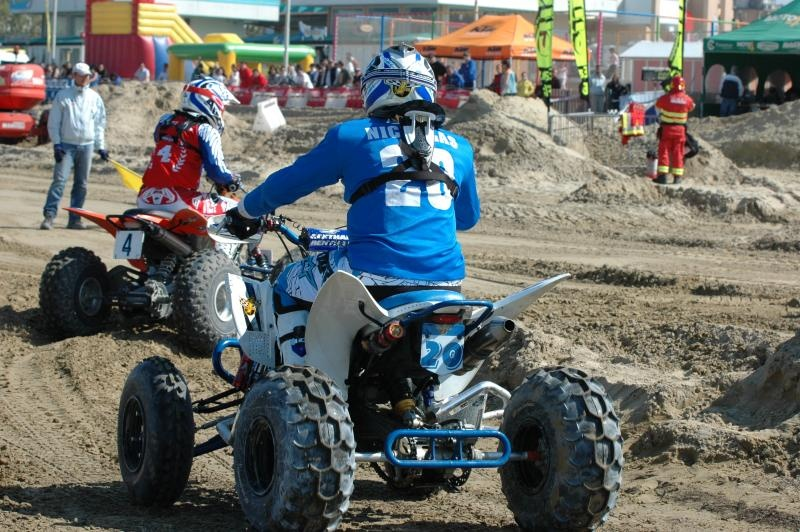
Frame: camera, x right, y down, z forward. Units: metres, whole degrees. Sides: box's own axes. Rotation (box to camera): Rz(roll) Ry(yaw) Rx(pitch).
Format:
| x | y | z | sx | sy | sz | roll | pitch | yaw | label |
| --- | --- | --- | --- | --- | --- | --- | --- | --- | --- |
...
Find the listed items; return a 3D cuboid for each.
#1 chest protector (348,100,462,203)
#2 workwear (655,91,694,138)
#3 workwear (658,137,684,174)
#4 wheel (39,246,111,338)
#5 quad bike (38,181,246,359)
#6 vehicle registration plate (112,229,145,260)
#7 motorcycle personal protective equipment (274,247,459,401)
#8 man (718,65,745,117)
| x | y | z | sx | sy | sz | roll | pitch | yaw | label |
| --- | --- | --- | --- | --- | --- | --- | --- | --- | --- |
| 0.033 | -1.663 | 18.256 | 1.012 | 1.447 | 1.503 | -2 | 23 | -16 | chest protector |
| 6.190 | -3.544 | 30.788 | 1.177 | 1.307 | 0.696 | 4 | 6 | 15 | workwear |
| 6.158 | -2.647 | 30.960 | 0.607 | 1.176 | 0.391 | 6 | 7 | 7 | workwear |
| -4.985 | 0.458 | 20.822 | 0.354 | 1.112 | 1.074 | -6 | -17 | 31 | wheel |
| -3.784 | -0.127 | 22.249 | 2.837 | 2.738 | 4.292 | 2 | -1 | 16 | quad bike |
| -4.127 | -0.341 | 20.675 | 0.407 | 0.434 | 0.061 | -1 | -21 | 8 | vehicle registration plate |
| -0.714 | 0.819 | 18.002 | 1.830 | 0.964 | 1.852 | -1 | 8 | 3 | motorcycle personal protective equipment |
| 9.625 | -5.085 | 39.731 | 0.597 | 1.436 | 1.180 | 6 | 7 | 14 | man |
